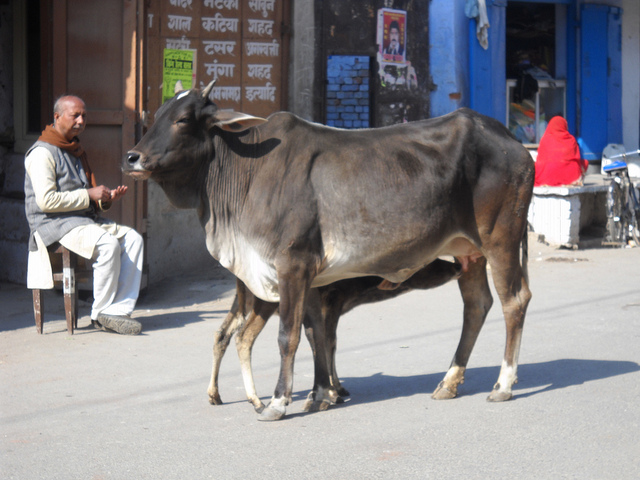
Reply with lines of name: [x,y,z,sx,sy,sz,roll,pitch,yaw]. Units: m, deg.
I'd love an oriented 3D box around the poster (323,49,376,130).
poster: [0.368,-1.883,13.614,0.614,1.205,0.654,19,25,41]

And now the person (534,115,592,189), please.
person: [3.355,-1.273,15.224,0.779,0.996,0.706,1,8,8]

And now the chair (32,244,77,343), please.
chair: [-2.397,0.514,10.225,0.449,0.720,0.461,7,13,44]

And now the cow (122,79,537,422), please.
cow: [-0.021,0.225,8.888,3.054,2.251,0.985,-1,3,-5]
